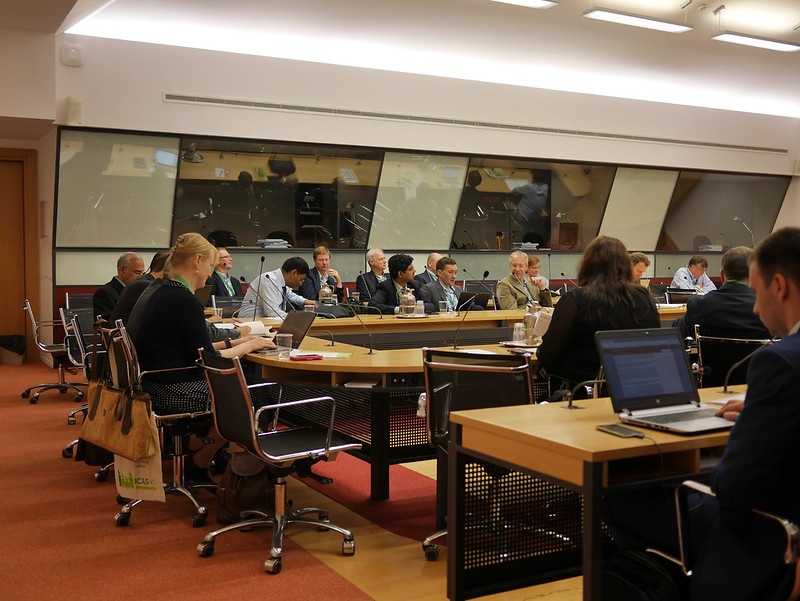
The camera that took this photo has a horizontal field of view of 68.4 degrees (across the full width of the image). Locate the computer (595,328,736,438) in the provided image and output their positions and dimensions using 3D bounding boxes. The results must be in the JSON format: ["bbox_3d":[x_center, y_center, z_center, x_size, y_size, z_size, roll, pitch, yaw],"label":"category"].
[{"bbox_3d":[0.947,0.277,1.975,0.527,0.259,0.481,3,9,-5],"label":"computer"}]

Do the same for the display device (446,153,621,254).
[{"bbox_3d":[2.280,-1.586,9.980,2.975,1.515,0.276,-1,3,-22],"label":"display device"}]

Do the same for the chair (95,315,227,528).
[{"bbox_3d":[-1.309,0.668,3.750,1.038,1.437,1.007,-1,2,-15],"label":"chair"}]

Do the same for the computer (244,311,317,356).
[{"bbox_3d":[-0.751,0.180,3.781,0.300,0.200,0.219,23,-8,43],"label":"computer"}]

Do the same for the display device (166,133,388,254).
[{"bbox_3d":[-1.744,-1.477,8.383,2.903,1.471,0.267,-1,3,-22],"label":"display device"}]

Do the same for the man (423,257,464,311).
[{"bbox_3d":[0.524,-0.162,6.797,0.669,0.680,0.356,-1,10,-36],"label":"man"}]

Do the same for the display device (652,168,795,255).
[{"bbox_3d":[5.631,-1.623,10.454,2.663,1.597,0.039,5,17,-26],"label":"display device"}]

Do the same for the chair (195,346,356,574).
[{"bbox_3d":[-0.591,0.753,2.921,0.775,0.941,0.791,0,-3,23],"label":"chair"}]
